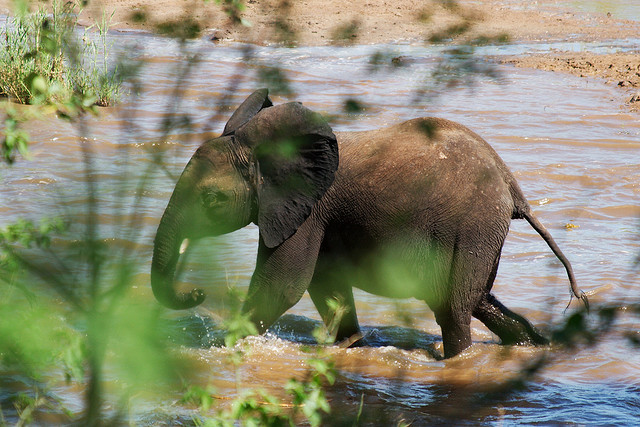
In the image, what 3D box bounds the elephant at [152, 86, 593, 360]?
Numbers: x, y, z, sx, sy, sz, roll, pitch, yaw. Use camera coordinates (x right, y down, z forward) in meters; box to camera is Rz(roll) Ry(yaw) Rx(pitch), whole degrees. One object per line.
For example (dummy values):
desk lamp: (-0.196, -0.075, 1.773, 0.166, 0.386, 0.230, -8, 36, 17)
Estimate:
elephant: (0.419, 0.249, 6.224, 3.502, 1.708, 1.494, 6, -3, 24)
